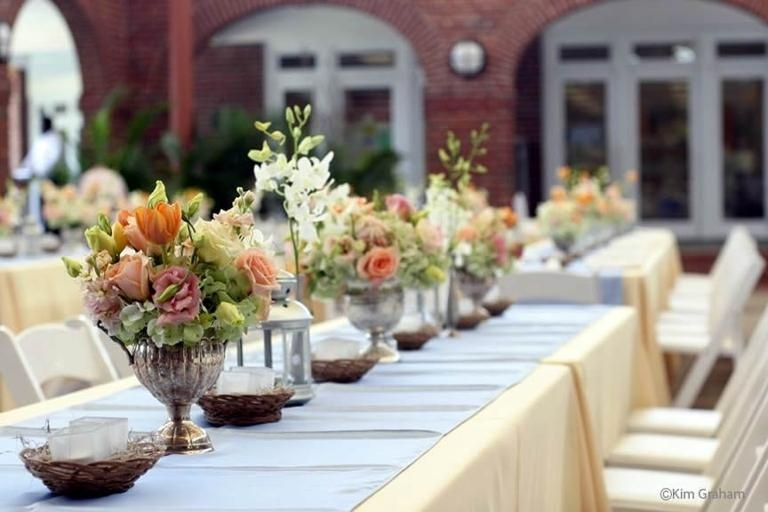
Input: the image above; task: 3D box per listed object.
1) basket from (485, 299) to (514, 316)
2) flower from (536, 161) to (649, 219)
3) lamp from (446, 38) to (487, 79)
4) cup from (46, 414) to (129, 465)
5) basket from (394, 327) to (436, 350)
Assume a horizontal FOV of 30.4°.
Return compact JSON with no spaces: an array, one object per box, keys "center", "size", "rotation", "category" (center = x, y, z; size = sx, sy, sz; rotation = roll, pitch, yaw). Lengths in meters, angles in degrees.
[{"center":[0.495,0.221,6.162],"size":[0.077,0.036,0.078],"rotation":[-13,0,41],"category":"basket"},{"center":[0.927,-0.255,6.244],"size":[0.266,0.205,0.311],"rotation":[1,20,-3],"category":"flower"},{"center":[0.408,-0.945,6.644],"size":[0.173,0.120,0.180],"rotation":[7,-14,26],"category":"lamp"},{"center":[-1.036,0.640,4.950],"size":[0.174,0.092,0.186],"rotation":[1,0,0],"category":"cup"},{"center":[0.123,0.333,5.782],"size":[0.110,0.085,0.106],"rotation":[-3,-3,21],"category":"basket"}]
